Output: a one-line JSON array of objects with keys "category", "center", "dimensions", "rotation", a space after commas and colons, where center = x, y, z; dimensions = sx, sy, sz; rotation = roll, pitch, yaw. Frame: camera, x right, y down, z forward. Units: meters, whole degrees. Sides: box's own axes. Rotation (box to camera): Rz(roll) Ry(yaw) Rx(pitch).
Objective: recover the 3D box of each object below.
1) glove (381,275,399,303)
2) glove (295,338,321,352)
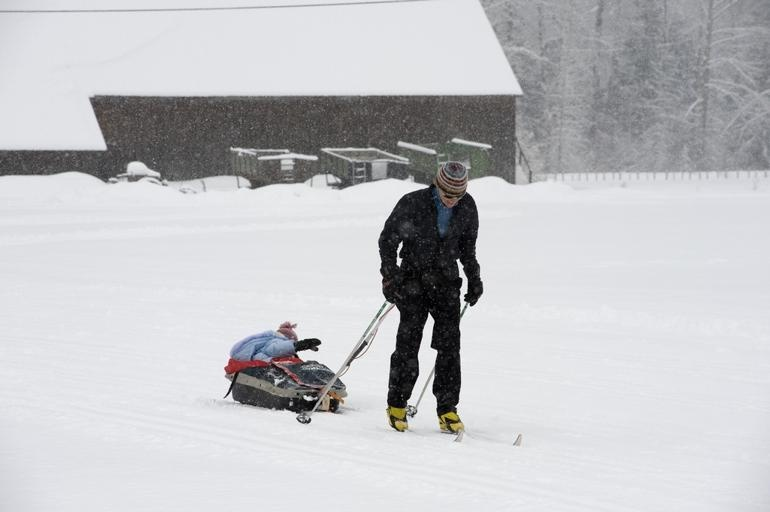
[{"category": "glove", "center": [0.093, 0.743, 24.667], "dimensions": [0.365, 0.501, 0.484], "rotation": [-1, 2, -24]}, {"category": "glove", "center": [-1.649, 1.979, 25.065], "dimensions": [0.457, 0.190, 0.295], "rotation": [-2, 12, 17]}]
